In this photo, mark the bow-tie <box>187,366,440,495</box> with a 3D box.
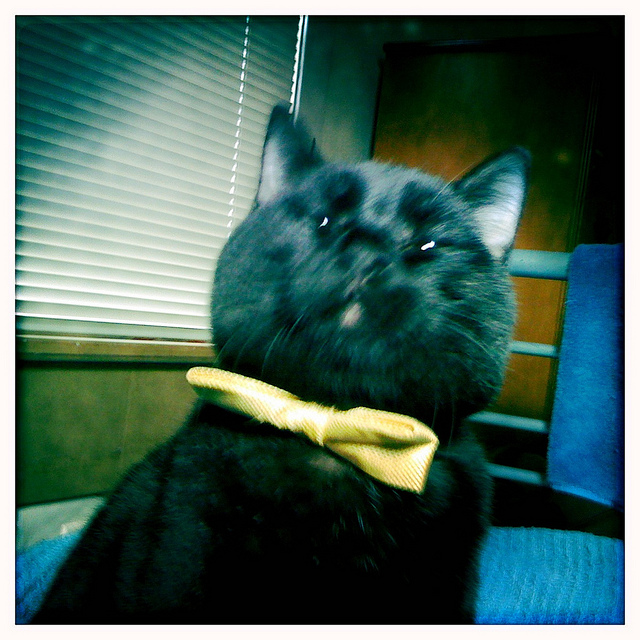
[{"bbox_3d":[-0.020,0.121,0.718,0.301,0.082,0.074,15,13,14],"label":"bow-tie"}]

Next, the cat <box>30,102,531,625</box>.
[{"bbox_3d":[-0.036,0.060,0.753,0.512,0.694,0.247,7,5,16],"label":"cat"}]
